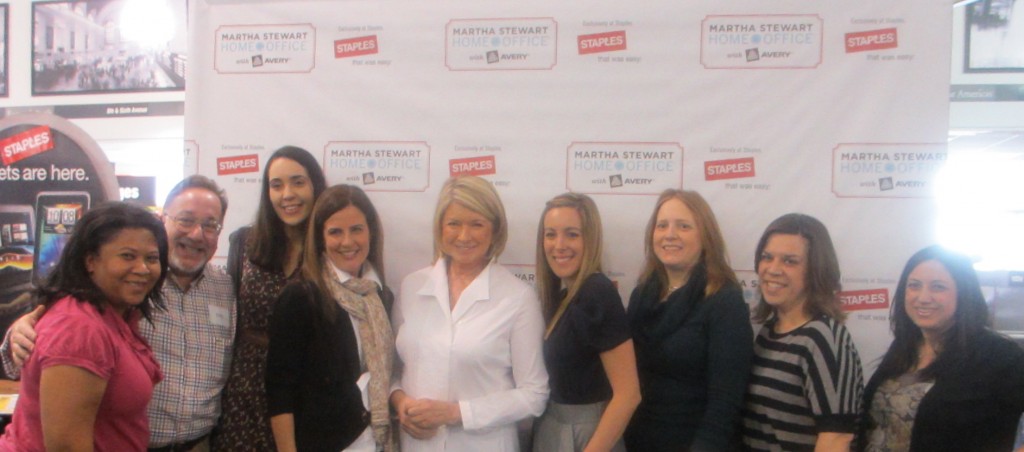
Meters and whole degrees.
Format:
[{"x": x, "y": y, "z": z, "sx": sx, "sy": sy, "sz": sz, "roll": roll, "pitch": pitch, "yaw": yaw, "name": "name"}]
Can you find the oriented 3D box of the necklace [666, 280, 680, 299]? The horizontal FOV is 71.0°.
[{"x": 1.823, "y": 0.740, "z": 8.096, "sx": 0.049, "sy": 0.172, "sz": 0.192, "roll": 38, "pitch": -7, "yaw": -11, "name": "necklace"}]
